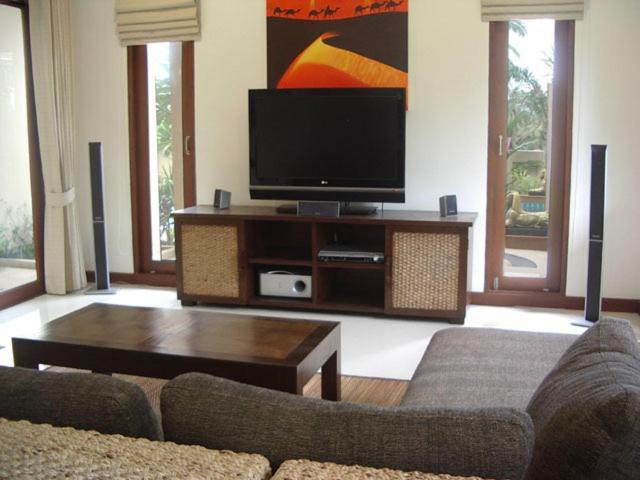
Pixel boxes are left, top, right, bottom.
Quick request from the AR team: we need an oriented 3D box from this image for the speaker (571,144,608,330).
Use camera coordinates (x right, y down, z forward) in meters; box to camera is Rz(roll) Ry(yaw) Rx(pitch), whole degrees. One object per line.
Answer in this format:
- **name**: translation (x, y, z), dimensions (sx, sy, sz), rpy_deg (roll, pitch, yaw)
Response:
- **speaker**: translation (1.963, -0.042, 3.869), dimensions (0.160, 1.277, 0.471), rpy_deg (5, 11, 30)

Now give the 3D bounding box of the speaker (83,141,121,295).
- **speaker**: translation (-1.978, -0.194, 4.720), dimensions (0.214, 1.305, 0.397), rpy_deg (-5, 11, -24)

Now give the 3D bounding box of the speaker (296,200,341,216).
- **speaker**: translation (-0.014, -0.237, 4.099), dimensions (0.317, 0.113, 0.137), rpy_deg (0, 9, 5)

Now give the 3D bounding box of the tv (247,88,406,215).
- **tv**: translation (0.071, -0.719, 4.171), dimensions (1.019, 0.698, 0.067), rpy_deg (2, 6, 13)
